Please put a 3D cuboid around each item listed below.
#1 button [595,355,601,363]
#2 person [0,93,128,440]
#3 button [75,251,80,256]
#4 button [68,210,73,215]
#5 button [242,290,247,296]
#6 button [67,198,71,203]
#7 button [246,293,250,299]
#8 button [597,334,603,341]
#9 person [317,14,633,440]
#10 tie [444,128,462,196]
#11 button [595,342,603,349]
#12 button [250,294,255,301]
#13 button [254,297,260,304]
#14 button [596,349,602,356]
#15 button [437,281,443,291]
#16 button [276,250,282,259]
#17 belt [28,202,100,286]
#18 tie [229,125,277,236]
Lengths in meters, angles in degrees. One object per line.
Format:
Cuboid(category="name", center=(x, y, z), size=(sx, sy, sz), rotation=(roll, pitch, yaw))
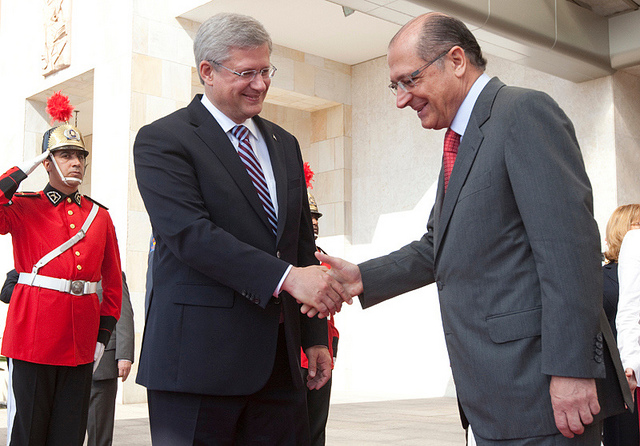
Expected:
Cuboid(category="button", center=(0.945, 0.463, 1.884), size=(0.024, 0.025, 0.006), rotation=(9, -16, -29))
Cuboid(category="person", center=(-1.822, 0.345, 3.871), size=(0.845, 2.233, 0.366), rotation=(6, -15, -19))
Cuboid(category="button", center=(-1.670, 0.210, 3.804), size=(0.028, 0.028, 0.006), rotation=(1, -8, -24))
Cuboid(category="button", center=(-1.765, -0.072, 3.910), size=(0.033, 0.033, 0.008), rotation=(0, -5, -18))
Cuboid(category="button", center=(-0.303, 0.280, 2.220), size=(0.022, 0.022, 0.005), rotation=(4, 6, 2))
Cuboid(category="button", center=(-1.793, -0.161, 3.955), size=(0.038, 0.038, 0.009), rotation=(1, 0, -38))
Cuboid(category="button", center=(-0.290, 0.292, 2.228), size=(0.013, 0.016, 0.020), rotation=(3, -14, -6))
Cuboid(category="button", center=(0.958, 0.392, 1.897), size=(0.021, 0.020, 0.005), rotation=(2, -12, -41))
Cuboid(category="person", center=(0.691, -0.037, 2.151), size=(0.729, 1.676, 0.424), rotation=(-6, -16, 27))
Cuboid(category="tie", center=(0.547, -0.248, 2.234), size=(0.073, 0.268, 0.069), rotation=(0, -25, 19))
Cuboid(category="button", center=(0.953, 0.419, 1.890), size=(0.019, 0.018, 0.005), rotation=(-10, -8, -17))
Cuboid(category="button", center=(-0.274, 0.302, 2.236), size=(0.018, 0.022, 0.035), rotation=(2, -14, -6))
Cuboid(category="button", center=(-0.256, 0.314, 2.227), size=(0.022, 0.022, 0.005), rotation=(7, 9, 21))
Cuboid(category="button", center=(0.951, 0.441, 1.888), size=(0.018, 0.004, 0.019), rotation=(0, -49, 44))
Cuboid(category="button", center=(0.464, 0.243, 2.144), size=(0.025, 0.032, 0.029), rotation=(-7, -11, 28))
Cuboid(category="button", center=(-0.175, 0.134, 2.381), size=(0.007, 0.032, 0.032), rotation=(-9, -17, 35))
Cuboid(category="belt", center=(-1.779, 0.164, 3.801), size=(0.089, 0.768, 0.117), rotation=(42, -31, 1))
Cuboid(category="tie", center=(-0.293, -0.175, 2.452), size=(0.173, 0.510, 0.053), rotation=(-9, -24, -33))
